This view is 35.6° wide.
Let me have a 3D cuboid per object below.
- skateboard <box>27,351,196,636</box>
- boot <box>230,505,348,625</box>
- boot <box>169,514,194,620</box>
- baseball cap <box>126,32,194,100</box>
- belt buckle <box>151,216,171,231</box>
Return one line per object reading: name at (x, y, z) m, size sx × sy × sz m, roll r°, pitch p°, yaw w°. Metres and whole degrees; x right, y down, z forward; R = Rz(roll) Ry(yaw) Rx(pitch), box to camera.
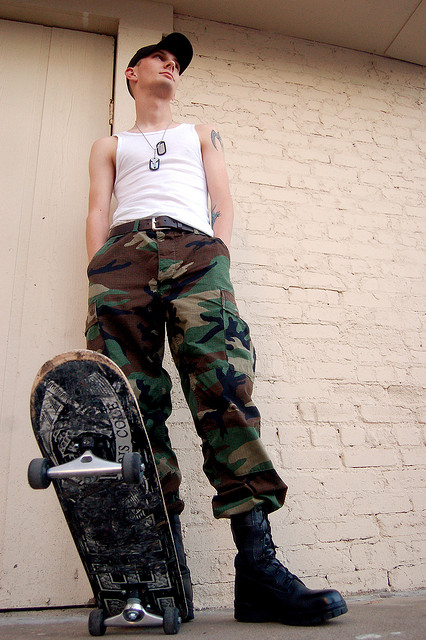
skateboard at (-0.215, 0.376, 1.476) m, size 0.238 × 0.760 × 0.143 m, roll -14°, pitch 8°, yaw 9°
boot at (0.167, 0.548, 1.459) m, size 0.260 × 0.215 × 0.105 m, roll -11°, pitch -20°, yaw 30°
boot at (-0.072, 0.596, 1.603) m, size 0.066 × 0.233 × 0.039 m, roll -6°, pitch 2°, yaw 23°
baseball cap at (-0.173, -0.855, 2.132) m, size 0.205 × 0.174 × 0.189 m, roll -2°, pitch 9°, yaw -7°
belt buckle at (-0.136, -0.248, 1.718) m, size 0.052 × 0.033 × 0.022 m, roll 2°, pitch 9°, yaw 18°
